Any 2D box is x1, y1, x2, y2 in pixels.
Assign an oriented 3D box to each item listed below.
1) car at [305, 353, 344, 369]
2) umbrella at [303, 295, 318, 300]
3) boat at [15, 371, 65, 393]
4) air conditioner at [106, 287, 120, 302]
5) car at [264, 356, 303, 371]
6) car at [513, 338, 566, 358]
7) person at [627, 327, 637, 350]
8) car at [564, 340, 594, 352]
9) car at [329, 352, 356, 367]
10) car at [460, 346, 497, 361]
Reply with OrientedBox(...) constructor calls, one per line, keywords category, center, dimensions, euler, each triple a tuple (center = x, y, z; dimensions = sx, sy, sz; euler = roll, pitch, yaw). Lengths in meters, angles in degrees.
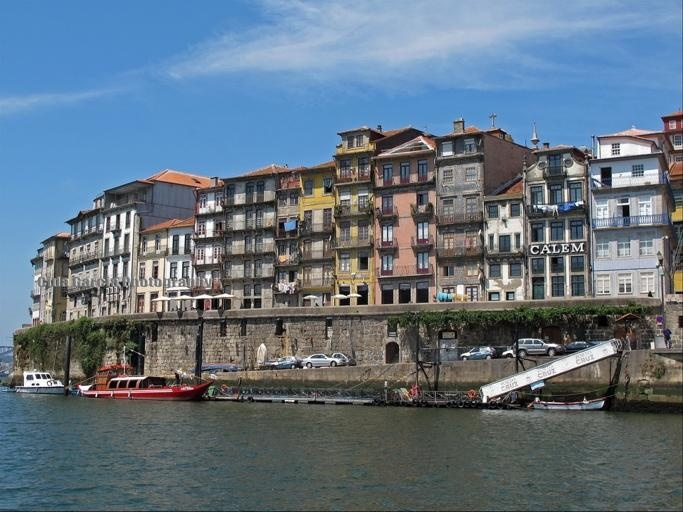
OrientedBox(category="car", center=(-1.917, 9.169, 78.734), dimensions=(3.034, 0.945, 1.308), euler=(-6, -8, 22))
OrientedBox(category="umbrella", center=(-3.080, 4.174, 90.205), dimensions=(0.768, 0.244, 0.754), euler=(7, -12, -32))
OrientedBox(category="boat", center=(-30.153, 13.086, 91.826), dimensions=(5.228, 1.833, 2.758), euler=(-1, -5, 38))
OrientedBox(category="air conditioner", center=(-28.531, 4.772, 112.803), dimensions=(0.829, 1.764, 1.949), euler=(-2, -2, -33))
OrientedBox(category="car", center=(-5.092, 9.732, 81.528), dimensions=(3.254, 1.046, 1.592), euler=(-2, -7, 32))
OrientedBox(category="car", center=(15.587, 7.150, 70.770), dimensions=(3.578, 1.315, 1.630), euler=(-5, -7, 20))
OrientedBox(category="person", center=(22.305, 6.250, 69.576), dimensions=(0.779, 1.405, 0.706), euler=(-2, 1, 18))
OrientedBox(category="car", center=(18.158, 7.096, 69.416), dimensions=(1.951, 0.625, 0.866), euler=(-13, 9, 17))
OrientedBox(category="car", center=(0.133, 9.012, 78.522), dimensions=(1.765, 0.826, 0.955), euler=(-2, -4, 8))
OrientedBox(category="car", center=(11.105, 7.828, 72.935), dimensions=(2.699, 0.941, 2.597), euler=(-2, 0, 16))
